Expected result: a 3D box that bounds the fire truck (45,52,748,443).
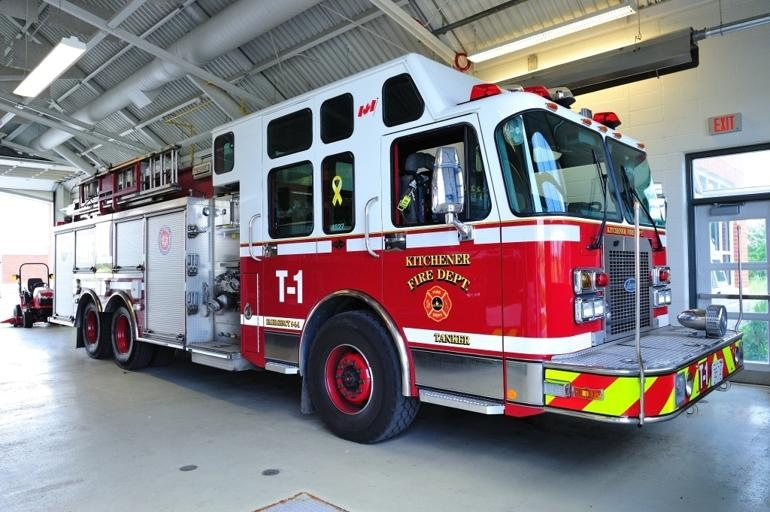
[{"bbox_3d":[-0.559,-0.159,8.002,10.160,4.649,3.185,2,6,33],"label":"fire truck"}]
